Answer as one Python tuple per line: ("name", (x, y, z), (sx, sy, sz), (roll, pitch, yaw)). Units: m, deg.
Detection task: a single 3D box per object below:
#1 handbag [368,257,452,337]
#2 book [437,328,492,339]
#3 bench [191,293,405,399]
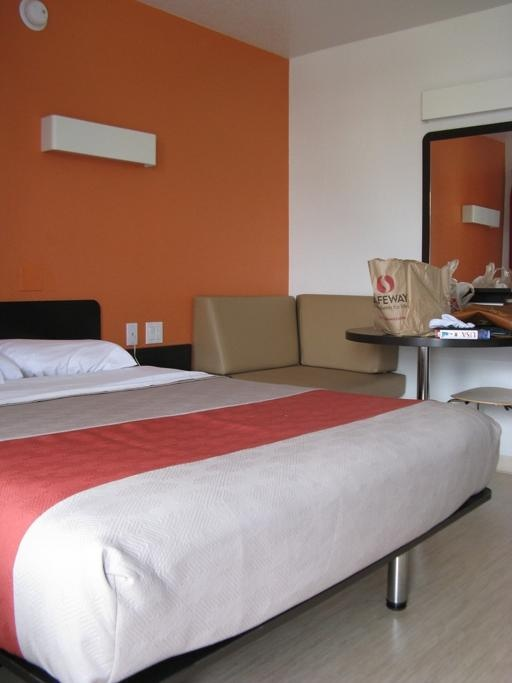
("handbag", (0.775, -0.224, 2.737), (0.407, 0.369, 0.288), (-7, 11, -37))
("book", (0.944, -0.030, 2.444), (0.235, 0.052, 0.125), (0, 1, 11))
("bench", (0.292, -0.005, 3.499), (0.919, 0.598, 0.905), (-1, 0, -44))
